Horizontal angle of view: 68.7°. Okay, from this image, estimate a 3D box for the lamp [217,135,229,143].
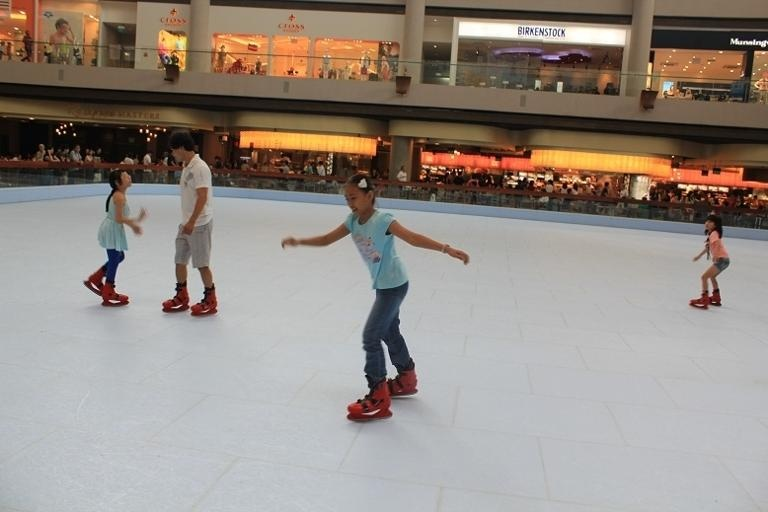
[{"bbox_3d":[-8.684,-6.402,30.356,0.378,0.482,0.723,2,-1,-40],"label":"lamp"}]

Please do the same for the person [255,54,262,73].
[{"bbox_3d":[-5.437,-8.260,24.404,0.325,0.698,0.128,6,13,12],"label":"person"}]

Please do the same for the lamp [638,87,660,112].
[{"bbox_3d":[10.546,-6.228,22.406,0.664,0.863,0.444,6,13,12],"label":"lamp"}]

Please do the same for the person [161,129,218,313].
[{"bbox_3d":[-2.164,-0.332,6.334,0.553,2.061,0.514,10,15,29],"label":"person"}]

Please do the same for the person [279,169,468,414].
[{"bbox_3d":[-0.049,0.298,4.678,0.895,1.922,0.805,-1,13,-18],"label":"person"}]

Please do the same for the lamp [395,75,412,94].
[{"bbox_3d":[0.843,-7.107,23.513,0.743,0.738,0.656,0,5,-1],"label":"lamp"}]

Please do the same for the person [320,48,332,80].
[{"bbox_3d":[-2.507,-8.045,24.075,0.469,0.943,0.388,1,13,-10],"label":"person"}]

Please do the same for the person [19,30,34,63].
[{"bbox_3d":[-15.808,-9.211,24.973,0.483,1.208,1.035,-4,15,-30],"label":"person"}]

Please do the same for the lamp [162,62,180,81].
[{"bbox_3d":[-9.154,-7.893,24.203,0.823,0.581,0.637,-1,0,-7],"label":"lamp"}]

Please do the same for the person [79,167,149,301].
[{"bbox_3d":[-3.421,-0.329,7.158,0.708,1.573,2.039,-3,14,-24],"label":"person"}]

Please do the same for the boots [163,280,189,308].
[{"bbox_3d":[-2.412,0.486,6.622,0.393,0.363,0.200,1,6,-2],"label":"boots"}]

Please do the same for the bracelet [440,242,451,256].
[{"bbox_3d":[0.488,-0.061,4.460,0.114,0.059,0.136,2,-6,-6],"label":"bracelet"}]

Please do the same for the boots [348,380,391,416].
[{"bbox_3d":[-0.123,1.131,4.505,0.353,0.349,0.152,-4,16,-9],"label":"boots"}]
